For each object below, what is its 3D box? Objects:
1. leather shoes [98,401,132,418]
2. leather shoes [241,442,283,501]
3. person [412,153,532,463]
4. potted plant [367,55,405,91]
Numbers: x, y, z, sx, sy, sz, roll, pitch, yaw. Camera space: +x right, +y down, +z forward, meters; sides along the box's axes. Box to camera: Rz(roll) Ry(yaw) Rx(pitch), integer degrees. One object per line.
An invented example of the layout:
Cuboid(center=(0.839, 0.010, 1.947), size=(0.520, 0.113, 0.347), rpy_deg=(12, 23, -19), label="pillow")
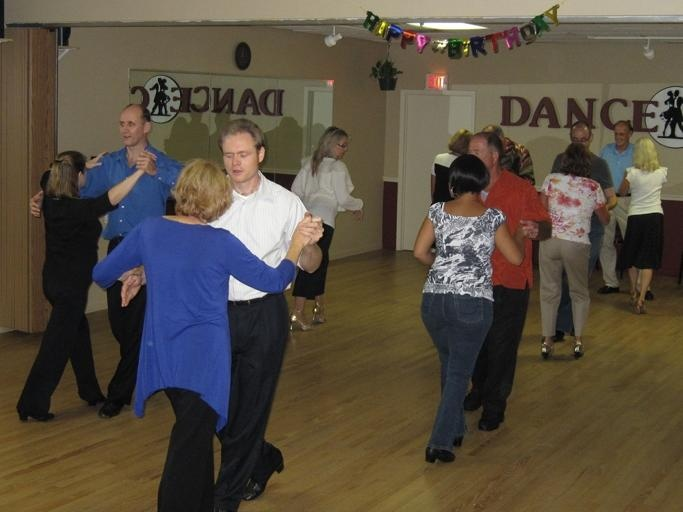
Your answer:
Cuboid(center=(-1.671, 1.132, 4.295), size=(0.090, 0.078, 0.193), rpy_deg=(1, -6, 11), label="leather shoes")
Cuboid(center=(-0.446, 1.225, 3.316), size=(0.187, 0.348, 0.154), rpy_deg=(38, 9, 38), label="leather shoes")
Cuboid(center=(0.722, 0.384, 3.519), size=(0.569, 1.950, 0.323), rpy_deg=(5, 11, 18), label="person")
Cuboid(center=(0.781, -3.198, 10.048), size=(0.550, 0.661, 0.628), rpy_deg=(4, 15, 10), label="potted plant")
